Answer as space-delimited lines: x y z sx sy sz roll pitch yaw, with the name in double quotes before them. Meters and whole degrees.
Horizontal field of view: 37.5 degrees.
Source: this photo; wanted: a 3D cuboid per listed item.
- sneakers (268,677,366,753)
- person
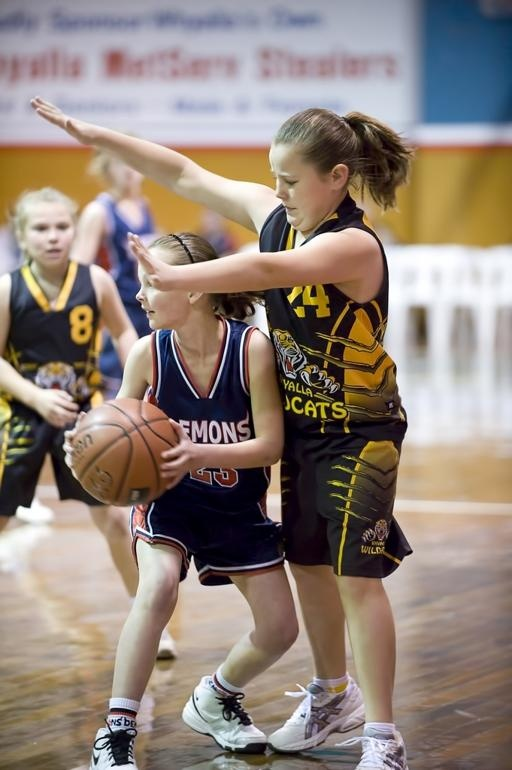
"sneakers" 0.122 0.688 1.640 0.249 0.117 0.093 -16 0 -37
"person" 0.122 0.121 1.465 0.421 1.276 0.637 4 15 11
